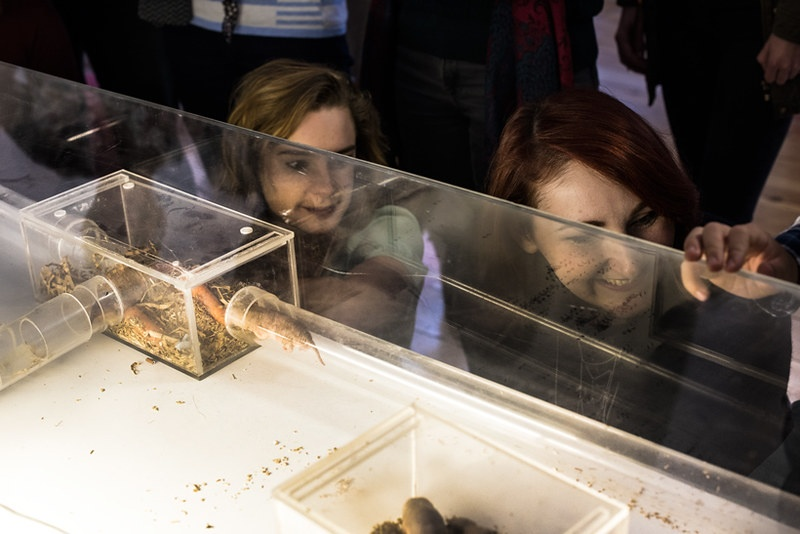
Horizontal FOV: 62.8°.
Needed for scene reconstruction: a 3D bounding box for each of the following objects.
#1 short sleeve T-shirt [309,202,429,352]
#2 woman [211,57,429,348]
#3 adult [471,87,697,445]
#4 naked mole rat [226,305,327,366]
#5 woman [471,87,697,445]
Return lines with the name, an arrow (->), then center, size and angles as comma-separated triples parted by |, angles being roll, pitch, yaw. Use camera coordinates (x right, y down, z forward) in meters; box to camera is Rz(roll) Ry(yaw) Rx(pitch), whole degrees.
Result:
short sleeve T-shirt -> -0.056, -0.001, 1.116 | 0.239, 0.199, 0.115 | 18, 36, 20
woman -> -0.159, -0.142, 1.277 | 0.411, 0.555, 0.301 | -12, 29, -22
adult -> 0.337, -0.094, 1.244 | 0.467, 0.258, 0.820 | 16, 34, 17
naked mole rat -> -0.219, 0.104, 1.147 | 0.198, 0.068, 0.049 | 9, 14, 27
woman -> 0.337, -0.094, 1.244 | 0.467, 0.258, 0.820 | 16, 34, 17
